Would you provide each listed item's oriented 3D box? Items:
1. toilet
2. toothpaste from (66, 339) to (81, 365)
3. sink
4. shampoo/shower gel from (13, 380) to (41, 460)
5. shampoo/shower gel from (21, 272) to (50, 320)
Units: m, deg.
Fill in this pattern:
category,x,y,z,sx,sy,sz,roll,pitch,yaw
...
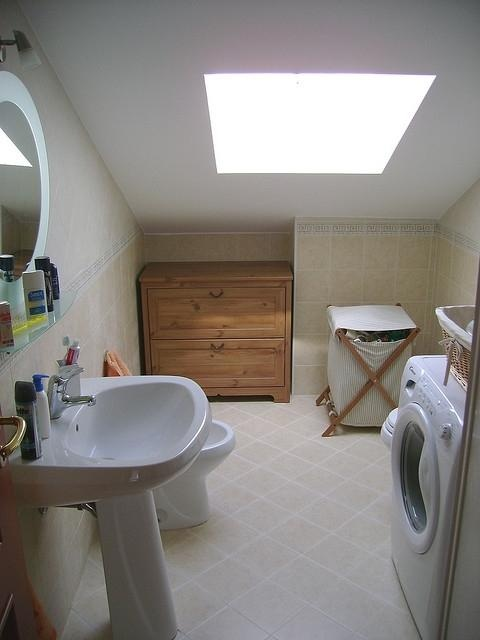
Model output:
category,x,y,z,sx,sy,sz,roll,pitch,yaw
toilet,-0.256,0.687,1.942,0.435,0.503,0.272,2,24,-7
toothpaste,-0.460,0.087,1.185,0.035,0.074,0.106,-4,11,-19
sink,-0.308,0.341,1.192,0.457,0.215,0.624,-1,11,3
shampoo/shower gel,-0.443,0.215,0.905,0.041,0.169,0.098,-6,11,-29
shampoo/shower gel,-0.547,-0.064,1.158,0.052,0.130,0.044,-7,12,-34
